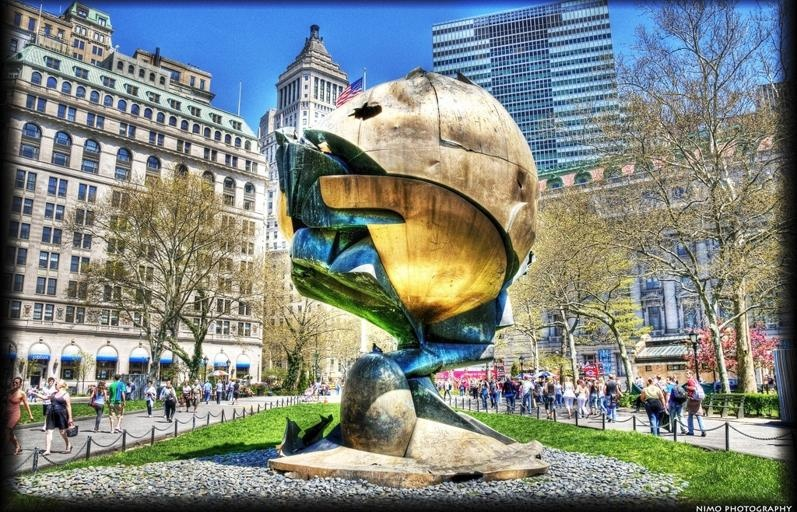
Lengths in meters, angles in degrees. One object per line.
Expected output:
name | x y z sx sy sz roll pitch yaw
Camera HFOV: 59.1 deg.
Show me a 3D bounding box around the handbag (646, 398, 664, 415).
handbag | 11.990 6.858 32.494 1.024 0.727 0.491 3 -14 -28
